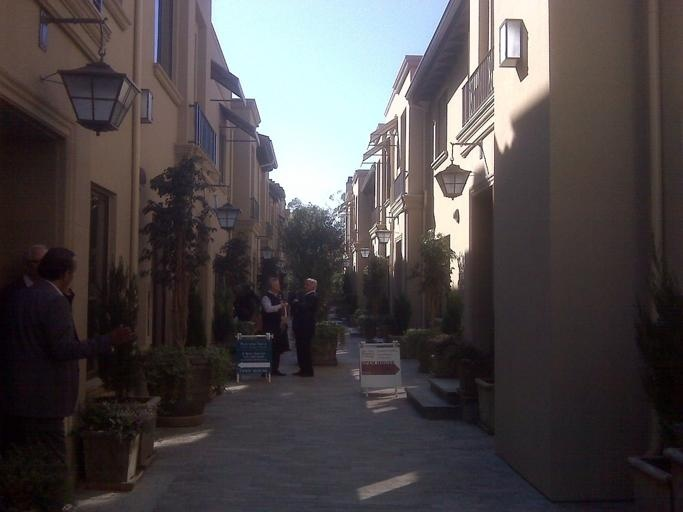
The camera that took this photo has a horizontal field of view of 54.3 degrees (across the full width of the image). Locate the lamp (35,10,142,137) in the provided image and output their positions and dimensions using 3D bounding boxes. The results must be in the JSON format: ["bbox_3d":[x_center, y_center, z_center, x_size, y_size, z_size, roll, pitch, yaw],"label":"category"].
[{"bbox_3d":[-2.714,-1.971,7.026,0.870,1.531,0.588,-4,-14,-5],"label":"lamp"}]

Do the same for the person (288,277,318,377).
[{"bbox_3d":[-0.821,1.571,14.862,0.505,2.170,0.608,-1,-6,-3],"label":"person"}]

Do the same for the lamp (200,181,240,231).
[{"bbox_3d":[-2.539,-1.215,14.444,0.473,1.219,0.594,-3,23,-11],"label":"lamp"}]

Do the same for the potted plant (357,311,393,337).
[{"bbox_3d":[1.256,2.470,24.376,0.902,0.596,1.351,1,-3,9],"label":"potted plant"}]

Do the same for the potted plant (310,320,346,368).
[{"bbox_3d":[-0.476,1.849,16.740,0.674,1.430,1.056,-1,35,-7],"label":"potted plant"}]

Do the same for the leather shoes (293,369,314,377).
[{"bbox_3d":[-0.861,2.557,14.670,0.457,0.248,0.179,2,-6,16],"label":"leather shoes"}]

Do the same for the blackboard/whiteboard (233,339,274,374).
[{"bbox_3d":[-1.807,1.916,13.863,0.666,0.931,0.613,1,1,-1],"label":"blackboard/whiteboard"}]

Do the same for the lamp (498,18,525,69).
[{"bbox_3d":[1.963,-2.434,7.471,0.217,0.423,0.243,-1,23,33],"label":"lamp"}]
